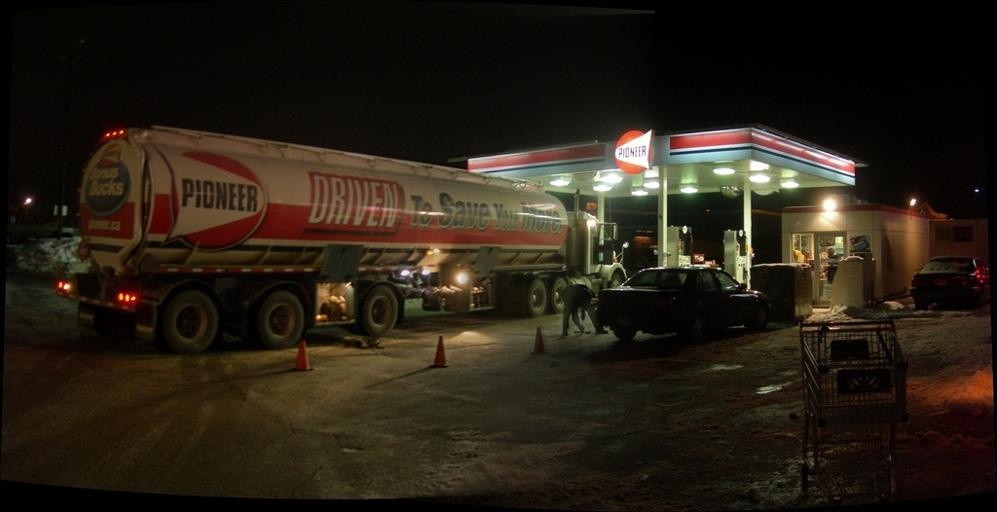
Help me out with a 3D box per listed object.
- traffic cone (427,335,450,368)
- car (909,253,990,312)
[{"bbox_3d":[-1.565,2.592,18.307,0.740,0.785,0.718,3,-6,18],"label":"traffic cone"},{"bbox_3d":[17.862,1.412,26.642,2.805,1.846,6.640,0,3,34],"label":"car"}]
